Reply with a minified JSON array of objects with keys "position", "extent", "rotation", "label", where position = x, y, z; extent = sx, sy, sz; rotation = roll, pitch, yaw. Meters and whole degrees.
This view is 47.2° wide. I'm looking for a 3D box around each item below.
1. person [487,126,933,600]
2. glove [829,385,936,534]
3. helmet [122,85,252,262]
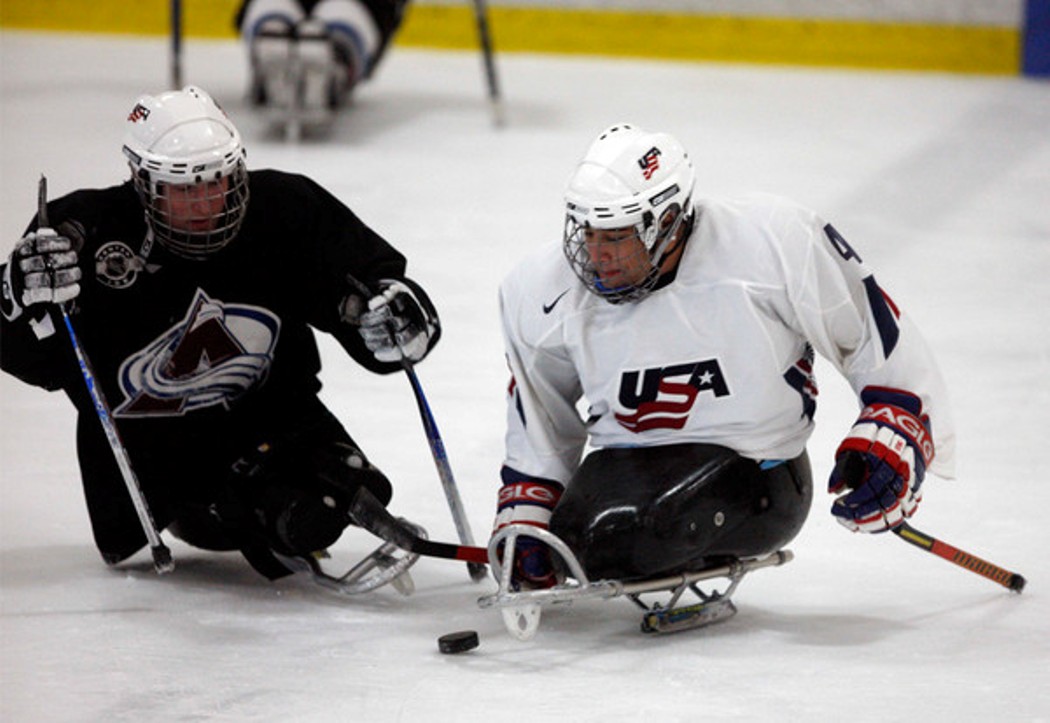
[{"position":[0.470,-0.029,3.202],"extent":[1.310,1.117,0.655],"rotation":[-5,0,31],"label":"person"},{"position":[0.961,0.283,3.200],"extent":[0.274,0.159,0.373],"rotation":[22,73,22],"label":"glove"},{"position":[-0.925,-0.527,3.258],"extent":[0.324,0.371,0.397],"rotation":[-13,45,-31],"label":"helmet"}]
